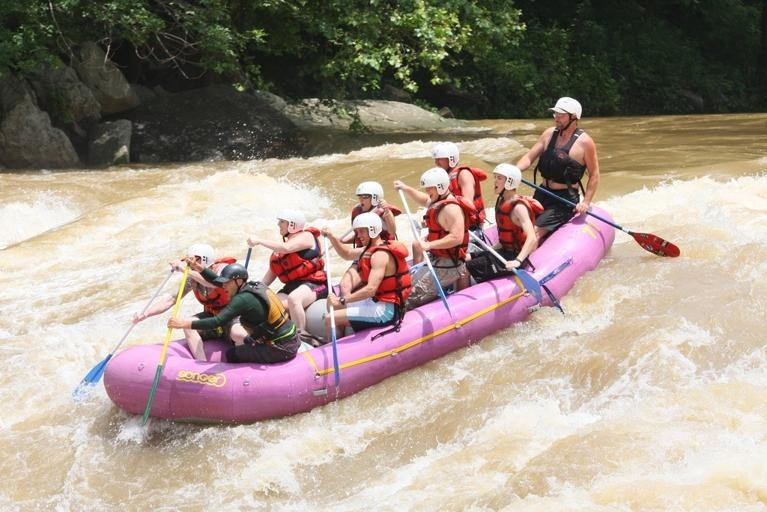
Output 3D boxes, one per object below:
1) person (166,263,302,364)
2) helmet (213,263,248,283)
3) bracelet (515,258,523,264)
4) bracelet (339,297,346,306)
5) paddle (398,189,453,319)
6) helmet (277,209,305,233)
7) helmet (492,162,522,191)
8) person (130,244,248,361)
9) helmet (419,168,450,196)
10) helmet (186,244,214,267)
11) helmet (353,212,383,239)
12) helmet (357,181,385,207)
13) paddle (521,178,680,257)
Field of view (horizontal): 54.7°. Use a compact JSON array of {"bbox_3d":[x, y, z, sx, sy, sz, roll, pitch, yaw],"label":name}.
[{"bbox_3d":[-1.860,0.951,9.183,1.578,1.710,0.938,7,4,3],"label":"person"},{"bbox_3d":[-1.836,0.233,8.935,0.302,0.155,0.238,4,-4,-8],"label":"helmet"},{"bbox_3d":[1.817,0.079,9.949,0.072,0.020,0.069,4,37,5],"label":"bracelet"},{"bbox_3d":[-0.520,0.574,9.240,0.064,0.087,0.094,-10,-24,-11],"label":"bracelet"},{"bbox_3d":[0.582,0.026,10.068,0.116,2.210,0.202,-15,-24,-19],"label":"paddle"},{"bbox_3d":[-1.246,-0.465,9.907,0.356,0.281,0.268,5,0,-11],"label":"helmet"},{"bbox_3d":[1.744,-1.106,10.350,0.403,0.313,0.318,6,4,-10],"label":"helmet"},{"bbox_3d":[-2.463,0.819,9.510,1.320,1.812,1.053,-7,-5,-6],"label":"person"},{"bbox_3d":[0.671,-0.982,9.828,0.387,0.319,0.307,7,5,-3],"label":"helmet"},{"bbox_3d":[-2.352,-0.014,9.596,0.333,0.255,0.238,17,2,-11],"label":"helmet"},{"bbox_3d":[-0.190,-0.377,9.327,0.350,0.277,0.286,2,-4,-16],"label":"helmet"},{"bbox_3d":[-0.127,-0.830,9.985,0.410,0.313,0.307,0,-1,-35],"label":"helmet"},{"bbox_3d":[3.562,-0.551,11.948,0.200,0.339,3.557,-33,22,-6],"label":"paddle"}]
